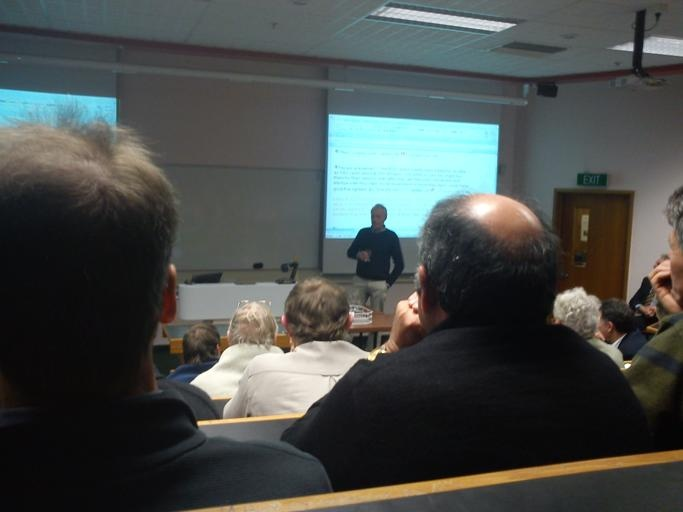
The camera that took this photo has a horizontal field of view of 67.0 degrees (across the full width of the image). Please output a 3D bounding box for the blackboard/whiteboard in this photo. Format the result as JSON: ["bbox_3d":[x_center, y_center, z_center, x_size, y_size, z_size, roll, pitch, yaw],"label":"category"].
[{"bbox_3d":[-1.242,-0.535,6.771,2.276,1.526,1.224,-1,6,-21],"label":"blackboard/whiteboard"}]

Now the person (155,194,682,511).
[{"bbox_3d":[0.246,0.252,1.155,0.869,0.602,0.481,-1,7,-14],"label":"person"}]

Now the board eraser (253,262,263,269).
[{"bbox_3d":[-1.058,0.126,6.674,0.091,0.070,0.089,-2,-5,24],"label":"board eraser"}]
